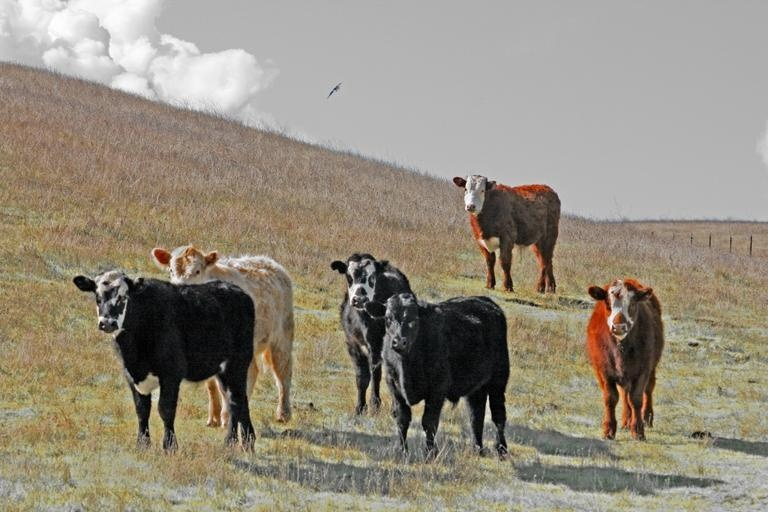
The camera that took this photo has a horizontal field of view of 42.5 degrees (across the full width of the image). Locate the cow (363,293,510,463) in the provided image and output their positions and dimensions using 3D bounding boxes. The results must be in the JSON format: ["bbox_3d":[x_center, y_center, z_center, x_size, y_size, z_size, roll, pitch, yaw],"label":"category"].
[{"bbox_3d":[1.033,2.026,17.462,1.305,2.853,3.763,5,2,38],"label":"cow"}]

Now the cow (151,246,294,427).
[{"bbox_3d":[-2.742,1.415,17.977,1.396,3.115,3.835,-4,-13,24],"label":"cow"}]

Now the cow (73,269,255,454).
[{"bbox_3d":[-3.642,1.858,16.908,1.325,3.073,3.410,4,-1,38],"label":"cow"}]

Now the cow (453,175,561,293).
[{"bbox_3d":[3.479,-0.537,27.284,3.846,3.166,1.227,0,9,-37],"label":"cow"}]
